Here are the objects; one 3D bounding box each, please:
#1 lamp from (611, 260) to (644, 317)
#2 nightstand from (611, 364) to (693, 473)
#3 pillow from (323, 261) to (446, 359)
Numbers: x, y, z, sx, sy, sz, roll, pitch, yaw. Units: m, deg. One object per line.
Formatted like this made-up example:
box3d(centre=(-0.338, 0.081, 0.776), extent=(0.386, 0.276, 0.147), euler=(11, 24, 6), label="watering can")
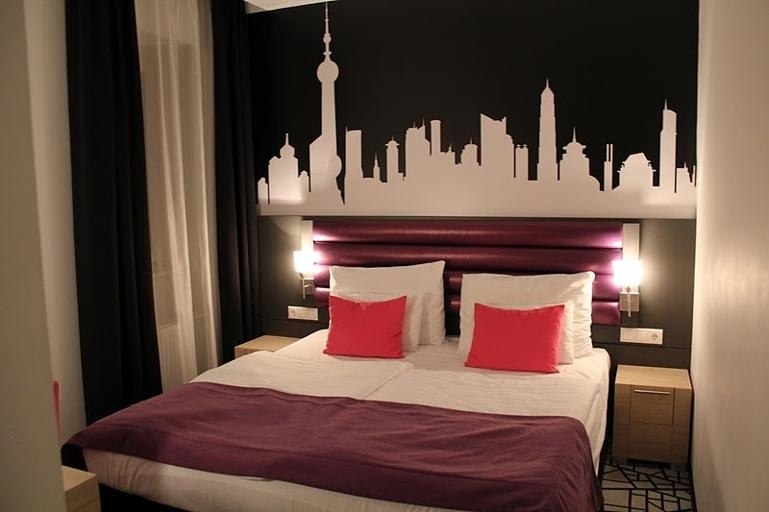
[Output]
box3d(centre=(1.775, 0.224, 4.407), extent=(0.219, 0.415, 0.145), euler=(2, 13, 18), label="lamp")
box3d(centre=(1.823, 1.114, 4.328), extent=(0.587, 0.822, 0.577), euler=(1, 0, 22), label="nightstand")
box3d(centre=(0.029, 0.418, 4.488), extent=(0.671, 0.486, 0.238), euler=(-2, -2, 15), label="pillow")
